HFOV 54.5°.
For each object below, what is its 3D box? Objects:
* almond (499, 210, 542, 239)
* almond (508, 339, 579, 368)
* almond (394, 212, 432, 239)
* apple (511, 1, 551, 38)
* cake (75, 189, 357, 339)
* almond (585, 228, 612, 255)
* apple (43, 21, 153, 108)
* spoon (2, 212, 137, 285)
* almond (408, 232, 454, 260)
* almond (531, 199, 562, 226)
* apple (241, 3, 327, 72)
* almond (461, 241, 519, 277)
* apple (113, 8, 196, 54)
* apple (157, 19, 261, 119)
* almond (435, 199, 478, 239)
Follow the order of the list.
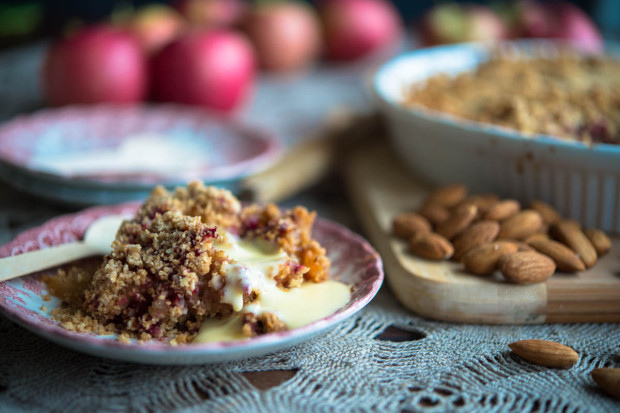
[{"bbox_3d":[0.348,0.032,1.001,0.073,0.024,0.035,-29,59,-13],"label":"almond"},{"bbox_3d":[0.341,0.217,0.896,0.096,0.038,0.048,8,3,7],"label":"almond"},{"bbox_3d":[0.174,0.028,1.038,0.041,0.030,0.053,-10,13,-21],"label":"almond"},{"bbox_3d":[0.530,-0.448,1.454,0.082,0.053,0.129,2,52,11],"label":"apple"},{"bbox_3d":[-0.170,0.066,0.966,0.394,0.125,0.385,-4,26,-22],"label":"cake"},{"bbox_3d":[0.474,0.056,0.992,0.025,0.036,0.043,-23,71,-6],"label":"almond"},{"bbox_3d":[-0.511,-0.309,1.311,0.139,0.170,0.146,-6,-6,43],"label":"apple"},{"bbox_3d":[-0.384,0.066,1.027,0.069,0.040,0.299,30,17,23],"label":"spoon"},{"bbox_3d":[0.206,0.065,1.025,0.062,0.035,0.037,9,80,30],"label":"almond"},{"bbox_3d":[0.405,0.007,1.042,0.029,0.020,0.058,-10,32,-15],"label":"almond"},{"bbox_3d":[-0.056,-0.414,1.452,0.159,0.105,0.181,-14,27,-14],"label":"apple"},{"bbox_3d":[0.284,0.080,0.957,0.079,0.029,0.048,-24,31,-9],"label":"almond"},{"bbox_3d":[-0.332,-0.377,1.347,0.154,0.100,0.047,-7,10,-26],"label":"apple"},{"bbox_3d":[-0.225,-0.315,1.453,0.219,0.154,0.224,30,36,35],"label":"apple"},{"bbox_3d":[0.249,0.020,1.011,0.078,0.060,0.052,-1,7,13],"label":"almond"}]
